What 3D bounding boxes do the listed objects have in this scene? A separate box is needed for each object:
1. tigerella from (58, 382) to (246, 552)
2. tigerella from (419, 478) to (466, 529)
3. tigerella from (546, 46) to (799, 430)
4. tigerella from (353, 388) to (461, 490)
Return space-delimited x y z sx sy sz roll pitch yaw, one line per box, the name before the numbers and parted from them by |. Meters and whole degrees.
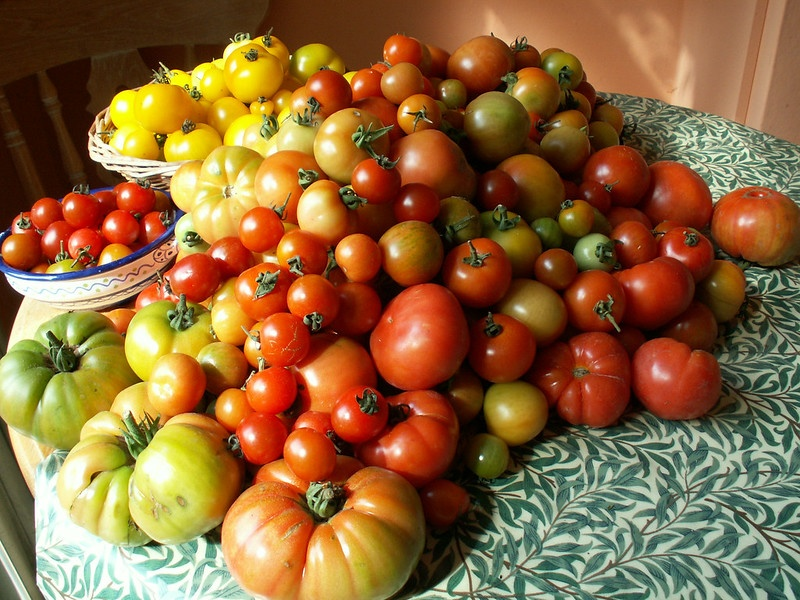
tigerella | -0.411 0.245 1.117 0.234 0.183 0.258 -2 56 1
tigerella | 0.067 0.317 1.059 0.064 0.067 0.072 -1 88 0
tigerella | 0.536 -0.044 1.323 0.185 0.566 0.610 26 76 -14
tigerella | 0.025 0.211 1.109 0.141 0.094 0.142 1 39 49
